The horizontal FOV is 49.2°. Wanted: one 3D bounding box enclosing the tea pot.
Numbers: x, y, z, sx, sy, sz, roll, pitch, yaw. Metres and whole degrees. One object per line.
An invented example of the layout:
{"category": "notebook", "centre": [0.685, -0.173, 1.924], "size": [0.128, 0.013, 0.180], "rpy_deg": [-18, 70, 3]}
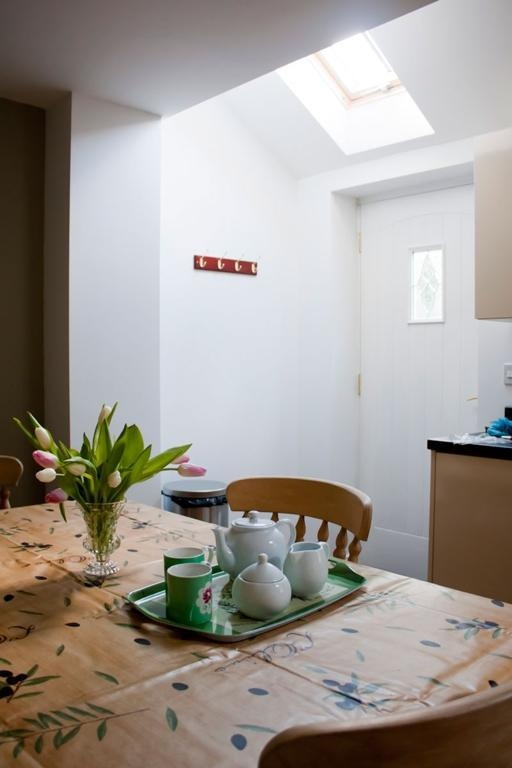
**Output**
{"category": "tea pot", "centre": [0.009, 0.256, 0.961], "size": [0.140, 0.107, 0.094], "rpy_deg": [3, -7, -39]}

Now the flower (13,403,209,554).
{"category": "flower", "centre": [-0.268, 0.173, 1.023], "size": [0.291, 0.247, 0.242], "rpy_deg": [-12, 5, -24]}

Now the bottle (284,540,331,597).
{"category": "bottle", "centre": [0.092, 0.295, 0.883], "size": [0.060, 0.074, 0.087], "rpy_deg": [-6, -16, 27]}

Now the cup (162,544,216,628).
{"category": "cup", "centre": [-0.098, 0.300, 0.816], "size": [0.053, 0.072, 0.101], "rpy_deg": [0, 1, -2]}

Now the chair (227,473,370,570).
{"category": "chair", "centre": [0.122, 0.292, 1.340], "size": [0.275, 0.343, 0.232], "rpy_deg": [-3, -7, 27]}
